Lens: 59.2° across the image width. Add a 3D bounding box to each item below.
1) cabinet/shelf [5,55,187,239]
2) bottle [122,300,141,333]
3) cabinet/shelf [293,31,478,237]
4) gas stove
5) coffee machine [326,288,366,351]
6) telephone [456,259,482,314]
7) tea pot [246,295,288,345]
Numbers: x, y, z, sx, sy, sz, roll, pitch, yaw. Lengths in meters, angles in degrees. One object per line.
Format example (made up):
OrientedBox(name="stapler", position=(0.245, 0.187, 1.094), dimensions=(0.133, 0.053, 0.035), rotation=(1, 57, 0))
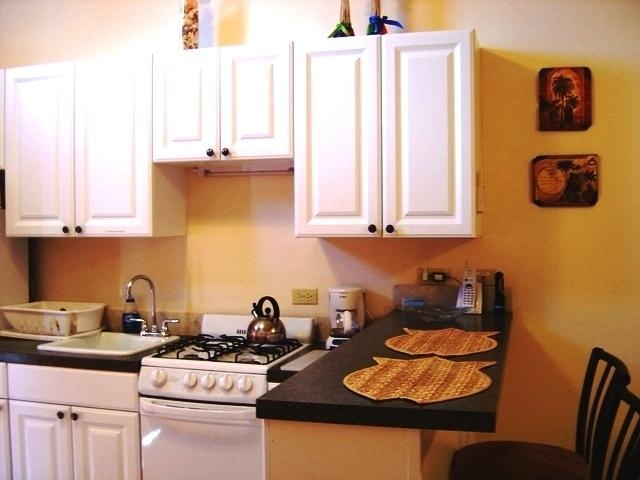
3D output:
OrientedBox(name="cabinet/shelf", position=(-1.315, -0.557, 3.349), dimensions=(1.148, 1.054, 0.551), rotation=(-1, -3, 18))
OrientedBox(name="bottle", position=(-1.184, 0.470, 3.559), dimensions=(0.126, 0.202, 0.123), rotation=(-5, 6, 1))
OrientedBox(name="cabinet/shelf", position=(0.372, -0.543, 2.919), dimensions=(1.150, 1.241, 0.449), rotation=(0, -1, 14))
OrientedBox(name="gas stove", position=(-0.509, 0.676, 3.170), dimensions=(0.751, 0.396, 0.784), rotation=(0, 1, 22))
OrientedBox(name="coffee machine", position=(0.150, 0.436, 3.305), dimensions=(0.246, 0.340, 0.325), rotation=(2, 5, 11))
OrientedBox(name="telephone", position=(0.840, 0.274, 3.168), dimensions=(0.162, 0.235, 0.141), rotation=(2, -6, 3))
OrientedBox(name="tea pot", position=(-0.294, 0.454, 3.208), dimensions=(0.203, 0.277, 0.255), rotation=(1, -1, 41))
